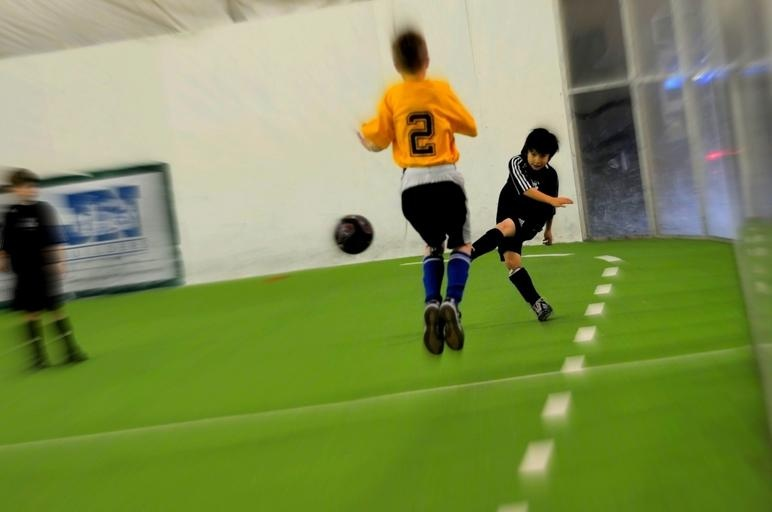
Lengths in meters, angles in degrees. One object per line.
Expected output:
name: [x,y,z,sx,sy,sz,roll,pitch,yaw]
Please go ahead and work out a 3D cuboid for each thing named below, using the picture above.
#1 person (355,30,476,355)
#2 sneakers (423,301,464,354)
person: [0.183,-0.304,2.193,0.521,1.507,0.203,-4,5,15]
sneakers: [0.265,0.339,2.156,0.177,0.245,0.118,-7,5,13]
